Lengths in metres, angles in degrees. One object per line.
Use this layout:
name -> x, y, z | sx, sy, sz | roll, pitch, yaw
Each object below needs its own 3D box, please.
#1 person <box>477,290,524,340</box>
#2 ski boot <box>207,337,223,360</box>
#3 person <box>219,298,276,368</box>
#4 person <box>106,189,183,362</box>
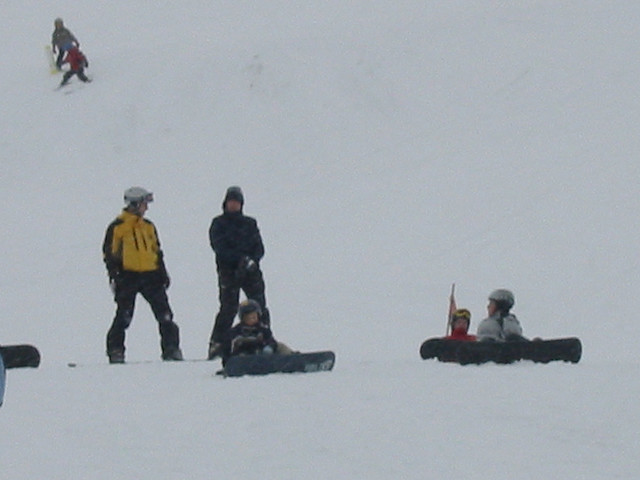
person -> 3.201, 1.467, 33.306 | 1.045, 0.668, 1.184 | 0, -86, -19
ski boot -> -2.036, 2.072, 34.924 | 0.279, 0.336, 0.294 | 2, -41, -5
person -> -1.382, 2.028, 34.129 | 0.842, 0.796, 1.891 | -4, -81, -34
person -> -3.358, 0.758, 34.738 | 1.310, 3.743, 0.826 | -2, -29, -2
